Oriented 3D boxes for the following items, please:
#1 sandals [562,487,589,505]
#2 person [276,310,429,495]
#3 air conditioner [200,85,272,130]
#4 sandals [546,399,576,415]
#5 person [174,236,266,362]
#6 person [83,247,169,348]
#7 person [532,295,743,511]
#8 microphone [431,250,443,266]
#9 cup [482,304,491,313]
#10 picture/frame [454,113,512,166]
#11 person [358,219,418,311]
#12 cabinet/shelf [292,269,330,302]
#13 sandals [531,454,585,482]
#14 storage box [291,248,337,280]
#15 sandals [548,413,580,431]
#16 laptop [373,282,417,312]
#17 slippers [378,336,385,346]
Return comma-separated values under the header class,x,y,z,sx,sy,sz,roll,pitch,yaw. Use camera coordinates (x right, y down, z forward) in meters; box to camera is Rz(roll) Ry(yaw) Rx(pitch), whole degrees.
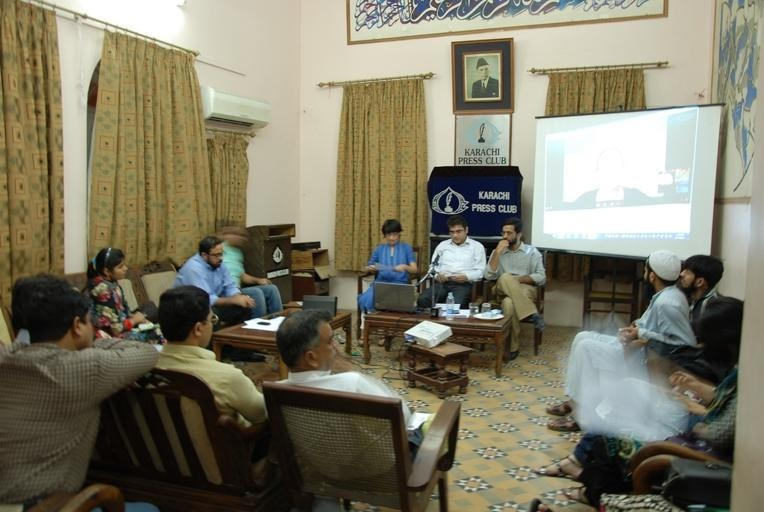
class,x,y,z,sx,sy,sz,roll,pitch,yaw
sandals,1.256,1.535,3.586,0.056,0.076,0.176,6,-5,-40
person,-0.272,0.645,3.122,0.578,0.688,0.959,-3,-6,39
air conditioner,-1.835,-1.820,6.914,0.282,0.416,1.007,3,7,33
sandals,1.499,1.266,4.677,0.239,0.098,0.090,-1,-1,18
person,-1.707,0.487,5.887,0.876,1.271,0.623,1,14,2
person,-2.187,0.360,4.868,0.730,0.820,0.521,3,12,-30
person,1.693,1.003,3.718,1.284,1.591,0.636,9,-18,19
microphone,0.632,0.023,6.341,0.060,0.055,0.183,-6,19,22
cup,1.061,0.529,5.659,0.077,0.085,0.078,0,2,0
picture/frame,1.367,-1.552,7.353,0.715,0.640,0.077,2,8,17
person,0.061,0.180,6.650,0.724,1.140,0.743,6,9,39
cabinet/shelf,-0.964,0.370,7.677,0.366,0.509,0.541,0,2,16
sandals,1.190,1.460,3.824,0.381,0.172,0.121,-2,-8,39
storage box,-0.979,0.100,7.785,0.442,0.291,0.451,0,1,27
sandals,1.444,1.321,4.453,0.191,0.072,0.109,2,-1,14
laptop,0.131,0.419,5.668,0.415,0.300,0.296,2,9,24
slippers,-0.010,0.993,6.518,0.077,0.079,0.070,0,1,12
